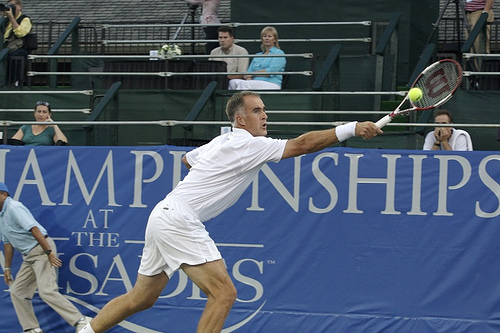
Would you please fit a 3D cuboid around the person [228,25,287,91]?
[{"bbox_3d":[0.210,-2.092,20.742,1.080,1.255,1.118,2,5,-21],"label":"person"}]

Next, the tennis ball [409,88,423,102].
[{"bbox_3d":[2.449,-1.094,16.040,0.168,0.190,0.213,14,48,28],"label":"tennis ball"}]

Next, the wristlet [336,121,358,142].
[{"bbox_3d":[1.393,-0.527,15.852,0.293,0.292,0.159,5,5,3],"label":"wristlet"}]

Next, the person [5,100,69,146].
[{"bbox_3d":[-3.778,-0.782,19.336,0.978,0.783,1.982,4,5,-11],"label":"person"}]
